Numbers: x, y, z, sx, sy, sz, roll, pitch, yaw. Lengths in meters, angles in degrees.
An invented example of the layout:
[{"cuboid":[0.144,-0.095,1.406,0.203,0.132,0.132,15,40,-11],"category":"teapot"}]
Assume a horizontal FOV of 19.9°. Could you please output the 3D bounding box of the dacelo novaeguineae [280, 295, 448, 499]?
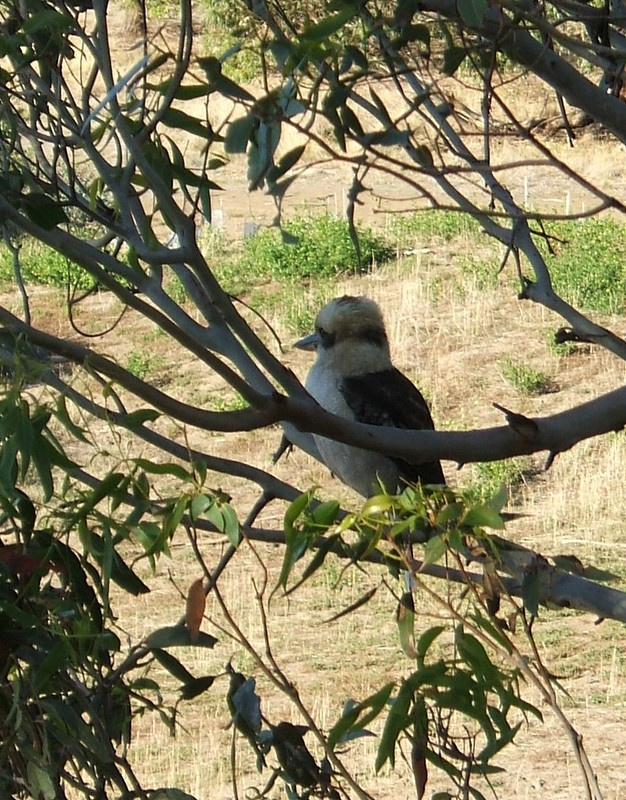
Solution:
[{"cuboid":[0.209,-0.001,5.370,0.526,0.349,0.724,0,-59,-8],"category":"dacelo novaeguineae"}]
